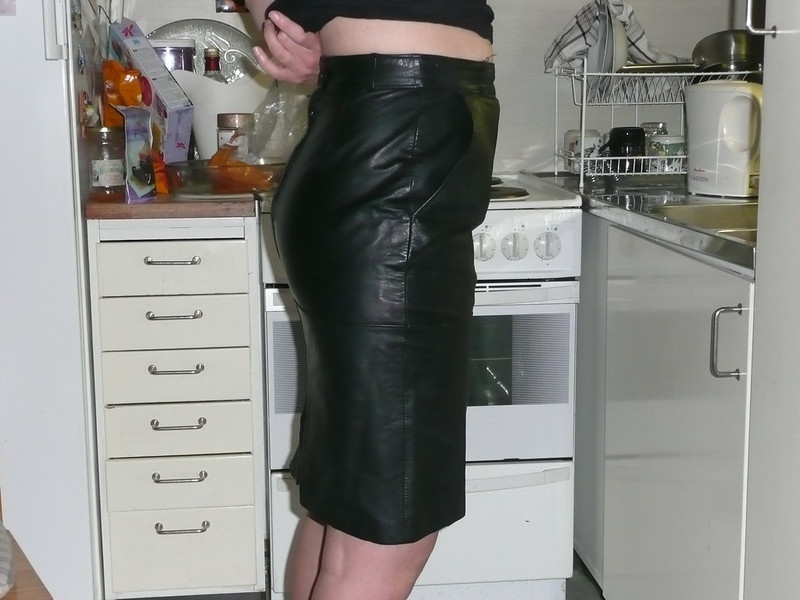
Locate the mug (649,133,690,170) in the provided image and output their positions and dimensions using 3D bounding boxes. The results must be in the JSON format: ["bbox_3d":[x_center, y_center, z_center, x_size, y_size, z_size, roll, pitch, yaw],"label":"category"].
[{"bbox_3d":[0.704,-0.384,2.159,0.099,0.111,0.064,4,-5,-9],"label":"mug"}]

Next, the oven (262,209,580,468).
[{"bbox_3d":[0.037,0.105,2.224,0.795,0.863,0.564,-1,3,-8],"label":"oven"}]

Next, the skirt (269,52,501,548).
[{"bbox_3d":[0.042,0.076,2.214,0.802,0.846,0.572,-2,14,-7],"label":"skirt"}]

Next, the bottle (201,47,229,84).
[{"bbox_3d":[-0.536,-0.679,2.390,0.060,0.095,0.129,-6,14,-11],"label":"bottle"}]

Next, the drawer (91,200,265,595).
[{"bbox_3d":[-0.529,0.258,1.984,0.448,0.979,0.104,-4,12,-4],"label":"drawer"}]

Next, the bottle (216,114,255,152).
[{"bbox_3d":[-0.440,-0.454,2.217,0.105,0.098,0.249,-6,14,-12],"label":"bottle"}]
